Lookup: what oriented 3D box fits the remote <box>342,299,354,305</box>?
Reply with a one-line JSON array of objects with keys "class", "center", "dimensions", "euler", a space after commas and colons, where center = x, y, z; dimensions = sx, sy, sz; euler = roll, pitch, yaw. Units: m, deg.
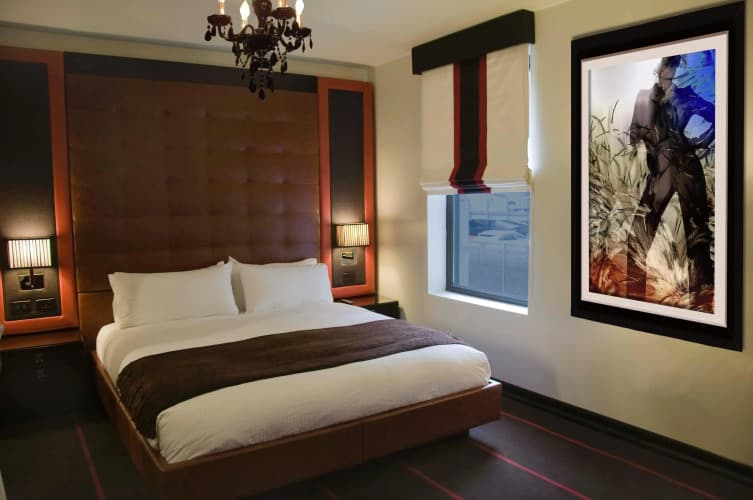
[{"class": "remote", "center": [-0.344, 0.600, 6.108], "dimensions": [0.067, 0.057, 0.068], "euler": [-1, 3, -44]}]

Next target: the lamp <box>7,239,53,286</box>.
[{"class": "lamp", "center": [-3.236, 0.121, 4.866], "dimensions": [0.361, 0.463, 0.181], "euler": [-6, 6, -30]}]
